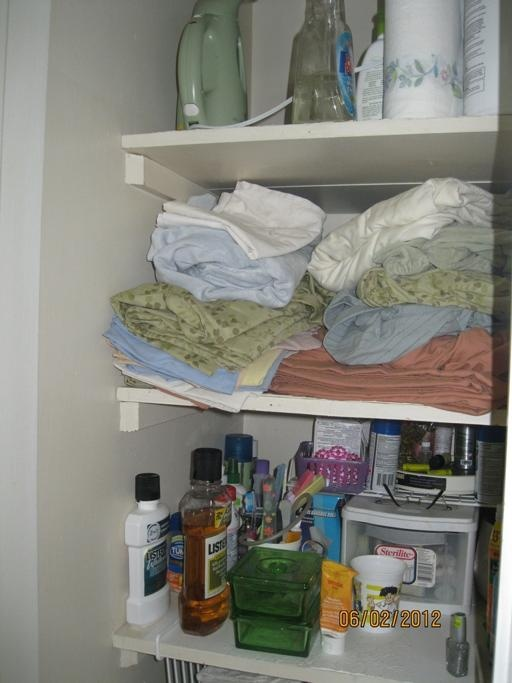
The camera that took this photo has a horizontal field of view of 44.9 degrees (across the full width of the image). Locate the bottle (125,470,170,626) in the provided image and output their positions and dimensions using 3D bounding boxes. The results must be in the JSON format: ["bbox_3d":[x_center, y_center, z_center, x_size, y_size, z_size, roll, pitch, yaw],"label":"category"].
[{"bbox_3d":[-0.165,0.312,0.938,0.054,0.213,0.095,-2,-2,19],"label":"bottle"}]

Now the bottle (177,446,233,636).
[{"bbox_3d":[-0.081,0.306,0.949,0.077,0.266,0.118,0,-3,15],"label":"bottle"}]

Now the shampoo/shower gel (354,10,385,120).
[{"bbox_3d":[0.164,-0.387,0.904,0.050,0.162,0.079,2,22,9],"label":"shampoo/shower gel"}]

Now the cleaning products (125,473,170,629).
[{"bbox_3d":[-0.156,0.305,0.927,0.069,0.201,0.086,-3,-6,38],"label":"cleaning products"}]

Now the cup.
[{"bbox_3d":[0.178,0.367,0.898,0.096,0.094,0.081,0,8,1],"label":"cup"}]

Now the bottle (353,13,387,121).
[{"bbox_3d":[0.162,-0.383,0.910,0.056,0.168,0.085,2,22,9],"label":"bottle"}]

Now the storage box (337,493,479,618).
[{"bbox_3d":[0.240,0.338,1.001,0.198,0.150,0.151,3,-3,8],"label":"storage box"}]

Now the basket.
[{"bbox_3d":[0.135,0.219,1.069,0.109,0.048,0.068,0,0,17],"label":"basket"}]

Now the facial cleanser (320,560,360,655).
[{"bbox_3d":[0.114,0.373,0.865,0.060,0.116,0.034,-5,-16,36],"label":"facial cleanser"}]

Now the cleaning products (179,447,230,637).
[{"bbox_3d":[-0.080,0.306,0.948,0.077,0.263,0.117,0,-3,13],"label":"cleaning products"}]

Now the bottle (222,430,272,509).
[{"bbox_3d":[-0.023,0.244,1.198,0.056,0.130,0.063,-4,16,-34],"label":"bottle"}]
